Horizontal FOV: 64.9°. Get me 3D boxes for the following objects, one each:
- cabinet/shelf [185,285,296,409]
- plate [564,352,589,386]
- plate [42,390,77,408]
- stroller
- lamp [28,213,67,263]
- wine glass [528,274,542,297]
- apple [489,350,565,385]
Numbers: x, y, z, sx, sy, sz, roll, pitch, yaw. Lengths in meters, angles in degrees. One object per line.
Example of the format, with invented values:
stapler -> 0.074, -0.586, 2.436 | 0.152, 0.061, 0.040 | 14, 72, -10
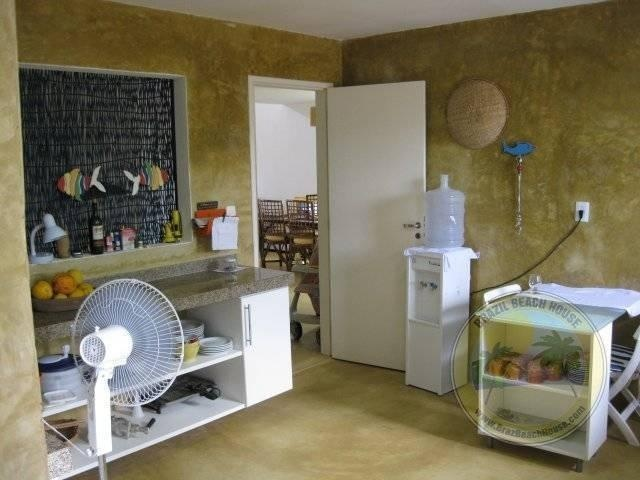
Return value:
cabinet/shelf -> -0.670, 0.733, 3.986 | 0.569, 0.900, 0.708 | 11, 11, 43
plate -> 1.548, 0.785, 3.054 | 0.150, 0.153, 0.139 | -1, -1, 20
plate -> -1.523, 0.913, 2.933 | 0.120, 0.024, 0.088 | -2, 16, -28
stroller -> -0.150, 0.551, 5.354 | 0.348, 0.936, 0.368 | 7, 8, 19
lamp -> -1.811, -0.020, 3.344 | 0.238, 0.313, 0.240 | -7, 12, -27
wine glass -> 1.440, 0.301, 3.389 | 0.098, 0.148, 0.153 | 2, 18, 20
apple -> 1.289, 0.803, 3.193 | 0.436, 0.157, 0.127 | 4, 12, 28
